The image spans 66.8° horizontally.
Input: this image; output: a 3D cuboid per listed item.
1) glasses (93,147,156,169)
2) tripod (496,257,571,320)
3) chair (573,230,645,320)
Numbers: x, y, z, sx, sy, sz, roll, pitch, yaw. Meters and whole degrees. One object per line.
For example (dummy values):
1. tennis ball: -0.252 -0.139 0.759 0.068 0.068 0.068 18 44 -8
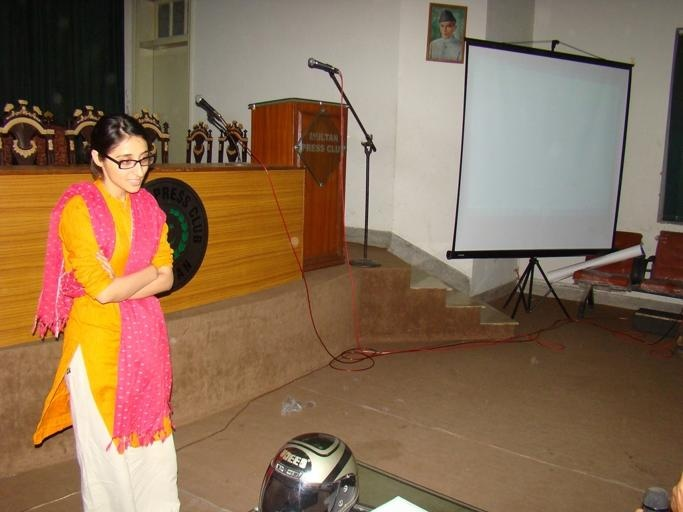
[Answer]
1. glasses: -0.868 -0.394 2.138 0.196 0.070 0.086 -6 15 -26
2. tripod: 2.087 0.272 5.517 0.396 0.626 0.430 -12 17 -35
3. chair: 2.788 0.158 5.798 0.746 1.127 0.886 1 2 43
